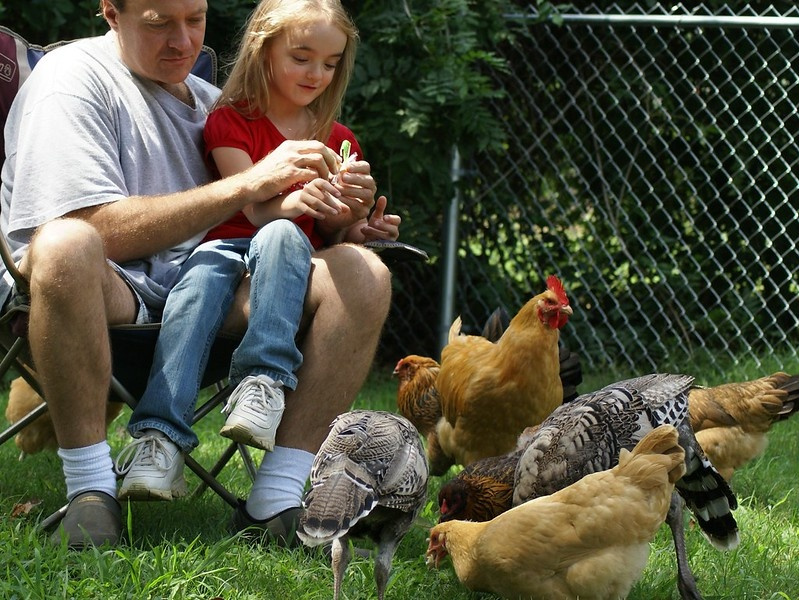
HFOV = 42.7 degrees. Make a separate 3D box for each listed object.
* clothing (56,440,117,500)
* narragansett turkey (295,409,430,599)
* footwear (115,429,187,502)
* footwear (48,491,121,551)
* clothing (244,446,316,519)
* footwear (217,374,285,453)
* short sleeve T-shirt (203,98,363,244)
[{"bbox_3d":[-1.160,0.636,3.829,0.202,0.240,0.179,-11,-7,-30],"label":"clothing"},{"bbox_3d":[-0.129,0.733,3.672,0.399,0.582,0.495,11,7,10],"label":"narragansett turkey"},{"bbox_3d":[-0.914,0.607,3.729,0.141,0.199,0.333,0,-4,1],"label":"footwear"},{"bbox_3d":[-1.118,0.792,3.679,0.205,0.178,0.177,10,7,-7],"label":"footwear"},{"bbox_3d":[-0.449,0.697,3.899,0.156,0.251,0.156,13,-25,17],"label":"clothing"},{"bbox_3d":[-0.535,0.414,3.746,0.157,0.173,0.310,24,15,-8],"label":"footwear"},{"bbox_3d":[-0.507,-0.514,4.204,0.466,0.508,0.263,15,-14,-34],"label":"short sleeve T-shirt"}]
